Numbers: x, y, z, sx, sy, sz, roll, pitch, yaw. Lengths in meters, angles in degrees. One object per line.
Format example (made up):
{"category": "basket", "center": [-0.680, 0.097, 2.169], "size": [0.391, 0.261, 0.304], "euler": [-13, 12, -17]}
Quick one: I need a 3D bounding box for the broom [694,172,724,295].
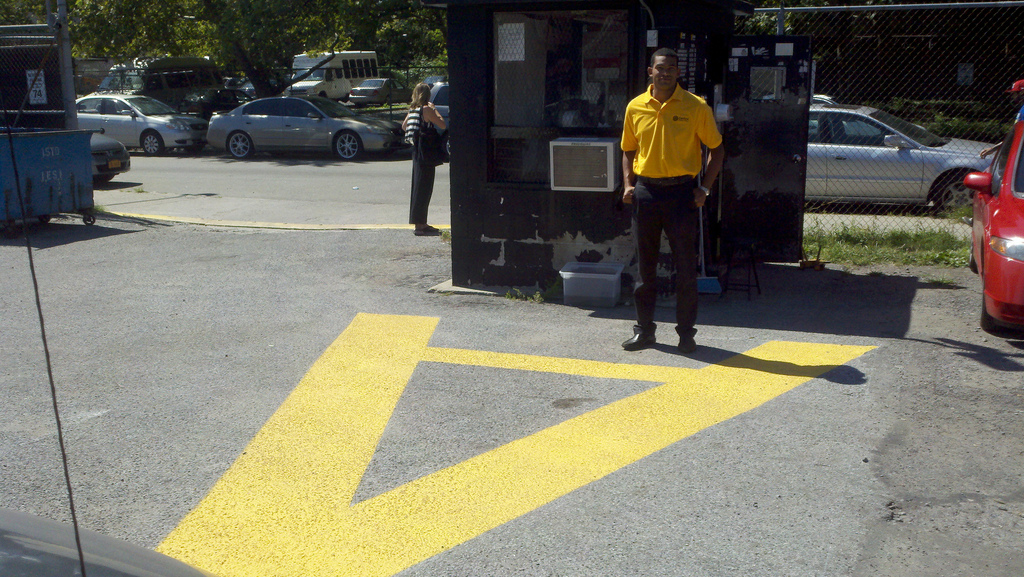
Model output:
{"category": "broom", "center": [2.393, -0.632, 9.805], "size": [0.370, 1.379, 0.450], "euler": [1, 1, 11]}

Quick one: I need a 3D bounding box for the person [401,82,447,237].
{"category": "person", "center": [-1.515, -2.169, 13.306], "size": [0.832, 2.360, 0.866], "euler": [0, 1, -8]}

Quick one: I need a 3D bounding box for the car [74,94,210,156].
{"category": "car", "center": [-12.941, -5.626, 26.529], "size": [5.142, 1.814, 2.278], "euler": [4, 15, 14]}

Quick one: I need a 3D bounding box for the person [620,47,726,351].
{"category": "person", "center": [1.617, -0.899, 8.012], "size": [1.007, 3.004, 0.635], "euler": [2, 14, 10]}

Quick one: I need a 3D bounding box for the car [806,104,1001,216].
{"category": "car", "center": [6.473, -2.467, 14.327], "size": [4.167, 1.389, 1.891], "euler": [-1, 19, 8]}

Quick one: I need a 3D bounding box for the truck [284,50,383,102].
{"category": "truck", "center": [-10.234, -12.147, 45.051], "size": [2.529, 2.790, 7.168], "euler": [5, 19, 18]}
